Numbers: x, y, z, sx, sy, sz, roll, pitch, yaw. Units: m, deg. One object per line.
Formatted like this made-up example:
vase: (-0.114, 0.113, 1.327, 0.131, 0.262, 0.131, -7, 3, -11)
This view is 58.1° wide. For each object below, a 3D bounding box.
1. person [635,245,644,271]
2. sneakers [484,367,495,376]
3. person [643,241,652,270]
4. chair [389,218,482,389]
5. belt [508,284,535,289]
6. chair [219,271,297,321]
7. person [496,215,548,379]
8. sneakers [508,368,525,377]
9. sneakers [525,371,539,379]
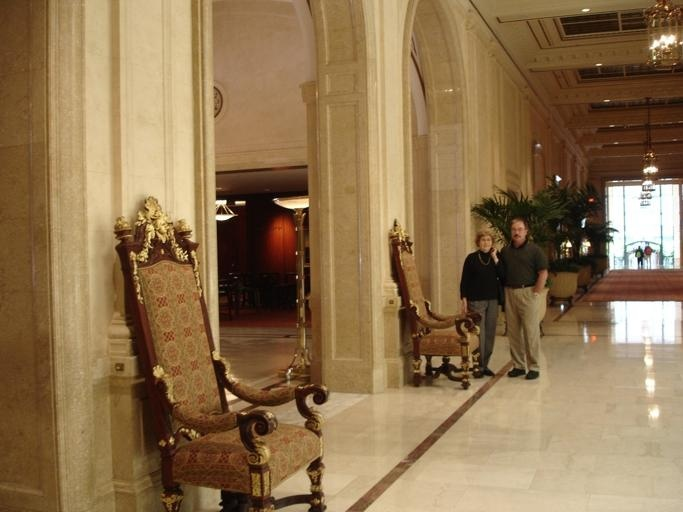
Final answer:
person: (17.288, 0.023, 35.328, 0.497, 1.128, 1.458, -4, 0, 26)
sneakers: (1.810, 1.408, 7.482, 0.138, 0.101, 0.055, -3, 4, 14)
person: (18.324, -0.178, 36.491, 0.468, 1.341, 2.295, -4, 0, 29)
chair: (1.193, 0.604, 7.370, 1.184, 1.775, 1.186, 0, -2, -44)
belt: (2.117, 0.343, 7.221, 0.280, 0.044, 0.072, -5, 0, 30)
chair: (-2.359, 1.081, 17.066, 1.438, 0.797, 1.475, 1, 5, 11)
person: (2.181, 0.483, 7.271, 0.547, 1.796, 0.327, -4, 1, 26)
sneakers: (2.102, 1.385, 7.353, 0.246, 0.112, 0.088, 10, -15, -37)
sneakers: (2.258, 1.392, 7.241, 0.130, 0.092, 0.255, -5, 0, 31)
